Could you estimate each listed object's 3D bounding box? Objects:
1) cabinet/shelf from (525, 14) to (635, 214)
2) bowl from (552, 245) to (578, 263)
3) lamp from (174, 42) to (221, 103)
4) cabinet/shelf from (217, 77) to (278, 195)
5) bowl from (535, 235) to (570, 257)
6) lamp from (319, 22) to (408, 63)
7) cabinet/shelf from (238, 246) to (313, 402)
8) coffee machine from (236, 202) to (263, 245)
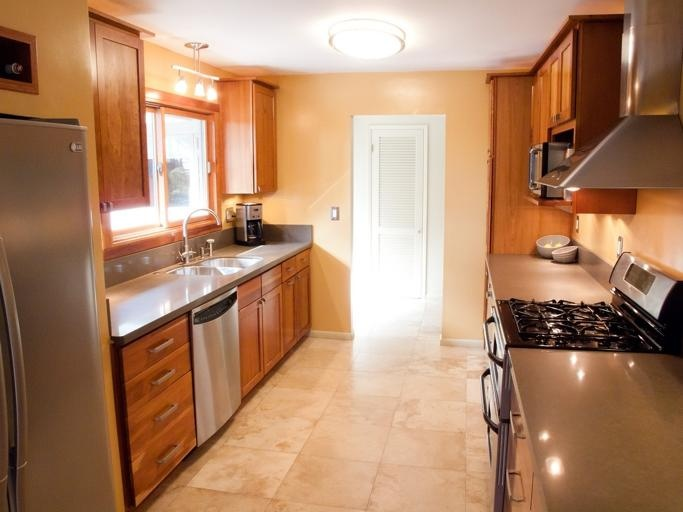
[{"bbox_3d":[1.345,-0.824,2.778,0.260,0.727,1.203,1,13,11],"label":"cabinet/shelf"},{"bbox_3d":[1.782,-0.025,3.935,0.148,0.097,0.137,-1,8,0],"label":"bowl"},{"bbox_3d":[-1.120,-1.498,3.967,0.150,0.394,0.431,-23,39,-23],"label":"lamp"},{"bbox_3d":[-0.873,-1.152,4.783,0.348,1.044,0.700,4,13,12],"label":"cabinet/shelf"},{"bbox_3d":[1.758,-0.097,4.159,0.203,0.123,0.206,-10,16,3],"label":"bowl"},{"bbox_3d":[0.194,-1.488,3.384,0.554,0.145,0.501,-4,13,-14],"label":"lamp"},{"bbox_3d":[-0.563,0.569,4.102,0.365,0.691,1.081,0,12,10],"label":"cabinet/shelf"},{"bbox_3d":[-0.899,-0.313,4.751,0.260,0.397,0.186,-1,12,-3],"label":"coffee machine"}]
